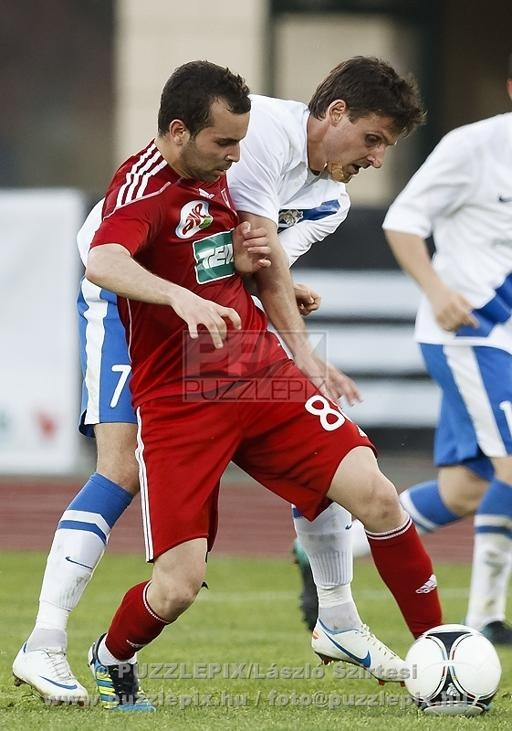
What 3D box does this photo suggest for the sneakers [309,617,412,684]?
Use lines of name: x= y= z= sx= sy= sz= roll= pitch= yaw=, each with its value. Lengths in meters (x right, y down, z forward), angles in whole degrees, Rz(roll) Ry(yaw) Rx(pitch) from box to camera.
sneakers: x=0.268 y=0.788 z=2.654 sx=0.314 sy=0.123 sz=0.109 roll=12 pitch=7 yaw=23

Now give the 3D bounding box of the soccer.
soccer: x=0.500 y=0.754 z=2.449 sx=0.240 sy=0.207 sz=0.235 roll=-13 pitch=-25 yaw=36

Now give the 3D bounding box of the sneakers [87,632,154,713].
sneakers: x=-0.355 y=0.810 z=2.522 sx=0.095 sy=0.245 sz=0.110 roll=-34 pitch=-2 yaw=-32

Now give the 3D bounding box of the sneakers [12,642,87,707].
sneakers: x=-0.525 y=0.790 z=2.555 sx=0.253 sy=0.106 sz=0.090 roll=12 pitch=17 yaw=41

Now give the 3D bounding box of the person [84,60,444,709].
person: x=-0.023 y=0.078 z=2.460 sx=0.864 sy=1.618 sz=0.589 roll=-3 pitch=18 yaw=-9
